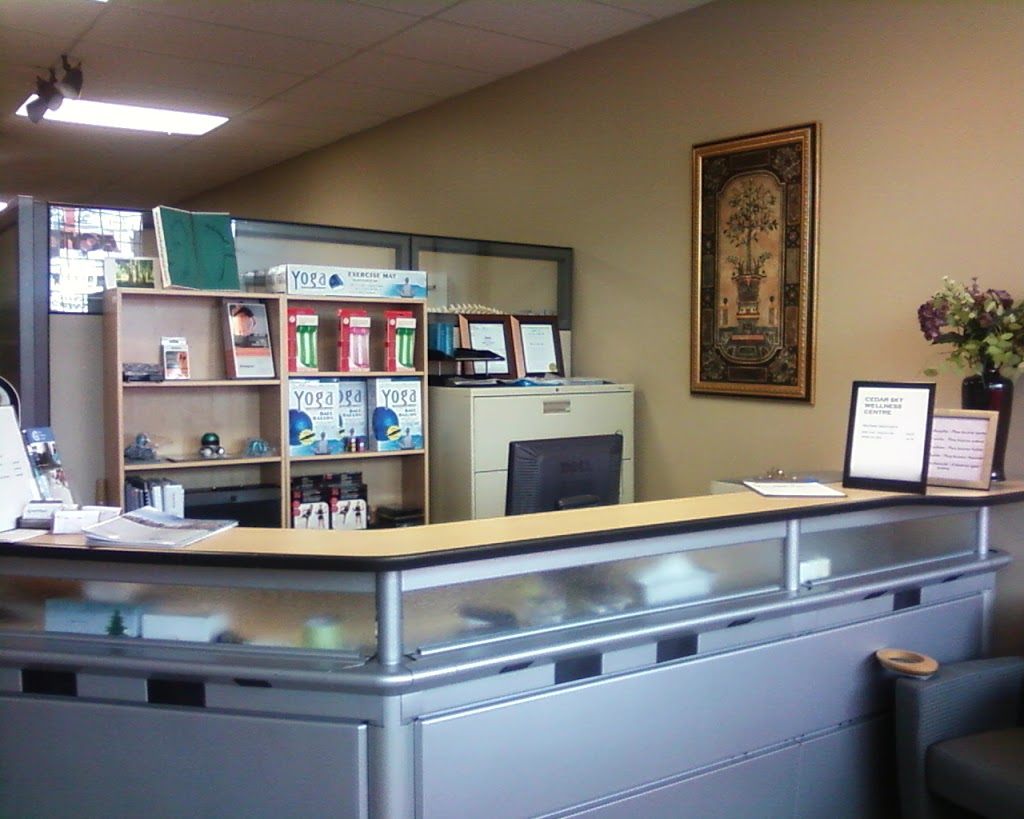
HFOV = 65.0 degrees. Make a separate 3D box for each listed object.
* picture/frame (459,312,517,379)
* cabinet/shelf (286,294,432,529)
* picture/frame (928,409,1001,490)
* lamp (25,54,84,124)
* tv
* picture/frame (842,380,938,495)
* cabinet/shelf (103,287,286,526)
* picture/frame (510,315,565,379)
[{"bbox_3d":[-0.155,-0.361,4.637,0.410,0.468,0.032,2,-17,-42],"label":"picture/frame"},{"bbox_3d":[-0.844,0.143,4.251,0.769,1.390,0.253,-1,9,-15],"label":"cabinet/shelf"},{"bbox_3d":[1.642,0.142,2.963,0.018,0.269,0.235,7,-2,-30],"label":"picture/frame"},{"bbox_3d":[-3.048,-2.108,5.348,0.296,0.458,0.180,35,1,41],"label":"lamp"},{"bbox_3d":[0.179,0.224,2.671,0.288,0.238,0.088,-4,21,-30],"label":"tv"},{"bbox_3d":[1.318,0.105,2.792,0.375,0.523,0.036,4,-2,45],"label":"picture/frame"},{"bbox_3d":[-1.637,-0.141,4.359,0.833,0.366,1.416,2,33,-31],"label":"cabinet/shelf"},{"bbox_3d":[0.137,-0.374,4.890,0.033,0.421,0.424,-20,-14,40],"label":"picture/frame"}]
